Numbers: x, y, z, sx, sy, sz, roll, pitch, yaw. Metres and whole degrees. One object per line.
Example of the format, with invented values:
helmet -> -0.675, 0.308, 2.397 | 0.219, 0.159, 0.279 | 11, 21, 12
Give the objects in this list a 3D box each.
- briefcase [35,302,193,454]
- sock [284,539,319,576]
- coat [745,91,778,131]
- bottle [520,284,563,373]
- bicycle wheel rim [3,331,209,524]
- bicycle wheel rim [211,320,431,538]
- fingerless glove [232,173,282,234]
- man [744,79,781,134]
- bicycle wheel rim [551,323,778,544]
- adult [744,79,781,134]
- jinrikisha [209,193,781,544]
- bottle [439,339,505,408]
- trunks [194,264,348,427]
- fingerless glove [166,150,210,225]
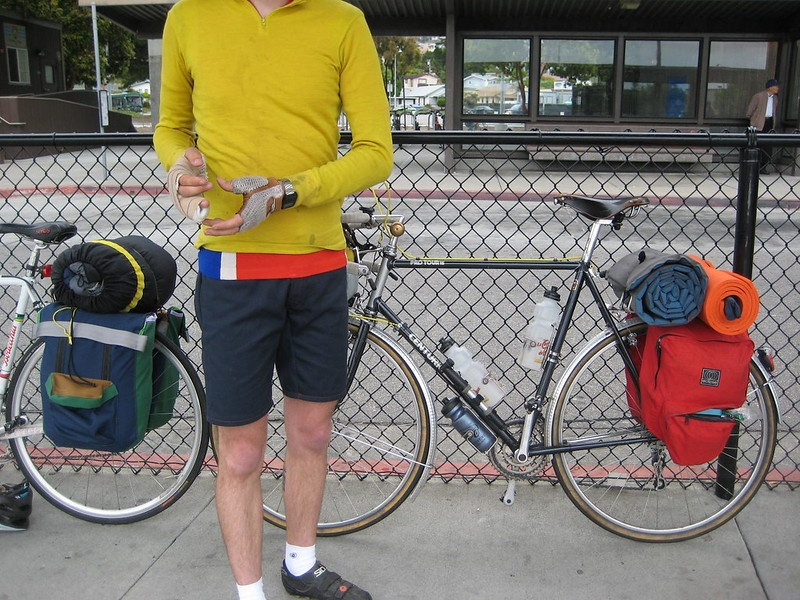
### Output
briefcase -> -1.267, 0.285, 3.466 | 0.715, 0.636, 0.674 | 6, 9, 17
sock -> -0.427, 1.103, 3.128 | 0.115, 0.110, 0.139 | 0, -5, -1
coat -> 7.718, -4.038, 15.519 | 0.597, 0.756, 0.453 | -1, 11, -9
bottle -> 0.651, 0.134, 3.405 | 0.185, 0.396, 0.078 | -6, 17, -18
bicycle wheel rim -> -1.409, 0.625, 3.469 | 1.026, 0.964, 0.105 | 0, 0, -3
bicycle wheel rim -> -0.347, 0.591, 3.954 | 1.070, 1.008, 1.040 | 10, 5, 3
fingerless glove -> -0.505, -0.339, 2.527 | 0.167, 0.178, 0.137 | -14, 20, -39
man -> 7.605, -4.112, 15.402 | 0.527, 1.038, 1.024 | 6, 17, 23
bicycle wheel rim -> 1.254, 0.669, 3.462 | 1.104, 1.035, 0.113 | 0, 2, 5
adult -> 7.610, -4.117, 15.418 | 0.532, 1.038, 1.060 | 6, 17, 24
jinrikisha -> 0.445, 0.344, 3.394 | 2.629, 1.454, 0.463 | 1, -4, 2
bottle -> 0.336, 0.340, 3.469 | 0.114, 0.393, 0.204 | -49, -2, -13
trunks -> -0.481, 0.155, 2.767 | 0.572, 0.519, 0.310 | -8, 17, -28
fingerless glove -> -0.740, -0.378, 2.528 | 0.083, 0.243, 0.196 | -27, -14, -34
